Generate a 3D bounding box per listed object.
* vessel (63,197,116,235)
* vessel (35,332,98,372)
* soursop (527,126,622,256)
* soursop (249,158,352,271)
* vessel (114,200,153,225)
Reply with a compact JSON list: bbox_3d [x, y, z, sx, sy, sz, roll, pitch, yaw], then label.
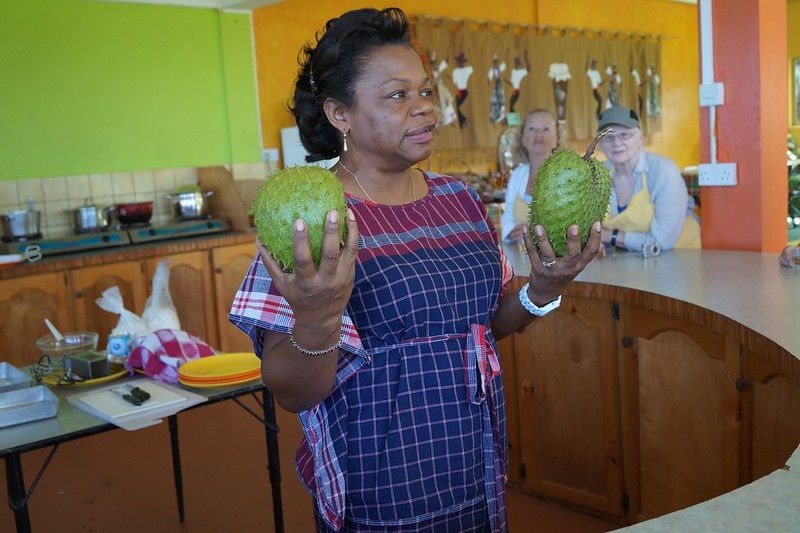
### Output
[{"bbox_3d":[-2.498,-0.424,5.070,0.375,0.282,0.383,-8,6,-17],"label":"vessel"},{"bbox_3d":[-1.523,0.384,2.933,0.248,0.136,0.246,-3,7,-43],"label":"vessel"},{"bbox_3d":[0.520,-0.241,1.866,0.220,0.356,0.204,-3,28,-6],"label":"soursop"},{"bbox_3d":[-0.230,-0.114,1.498,0.198,0.237,0.249,-11,17,-32],"label":"soursop"},{"bbox_3d":[-2.186,-0.437,5.144,0.241,0.167,0.190,-2,0,-39],"label":"vessel"}]
